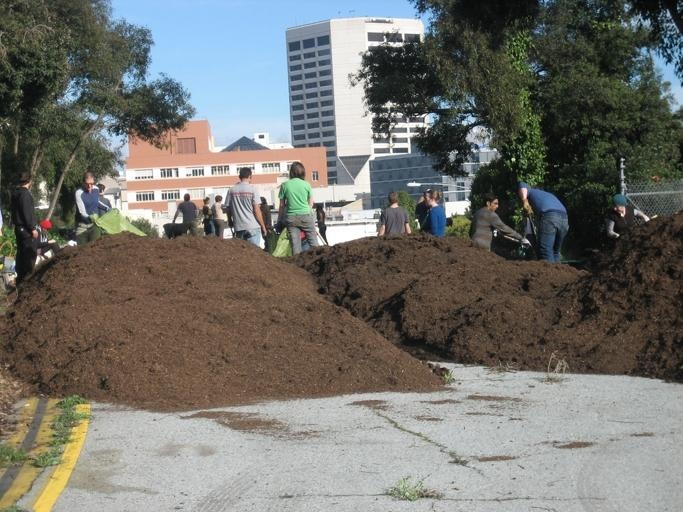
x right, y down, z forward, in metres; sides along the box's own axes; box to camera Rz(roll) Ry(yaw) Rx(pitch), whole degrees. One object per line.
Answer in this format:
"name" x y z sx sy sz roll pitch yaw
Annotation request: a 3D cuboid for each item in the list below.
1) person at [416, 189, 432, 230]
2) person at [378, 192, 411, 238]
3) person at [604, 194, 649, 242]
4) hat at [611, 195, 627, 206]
"person" 1.864 -0.923 22.563 0.289 0.984 0.209 -5 -32 20
"person" 1.215 -0.646 22.684 0.703 1.827 0.418 2 43 8
"person" 5.688 -0.778 20.488 0.789 0.885 0.493 -6 5 -20
"hat" 5.576 -1.088 20.442 0.231 0.240 0.352 -3 5 12
